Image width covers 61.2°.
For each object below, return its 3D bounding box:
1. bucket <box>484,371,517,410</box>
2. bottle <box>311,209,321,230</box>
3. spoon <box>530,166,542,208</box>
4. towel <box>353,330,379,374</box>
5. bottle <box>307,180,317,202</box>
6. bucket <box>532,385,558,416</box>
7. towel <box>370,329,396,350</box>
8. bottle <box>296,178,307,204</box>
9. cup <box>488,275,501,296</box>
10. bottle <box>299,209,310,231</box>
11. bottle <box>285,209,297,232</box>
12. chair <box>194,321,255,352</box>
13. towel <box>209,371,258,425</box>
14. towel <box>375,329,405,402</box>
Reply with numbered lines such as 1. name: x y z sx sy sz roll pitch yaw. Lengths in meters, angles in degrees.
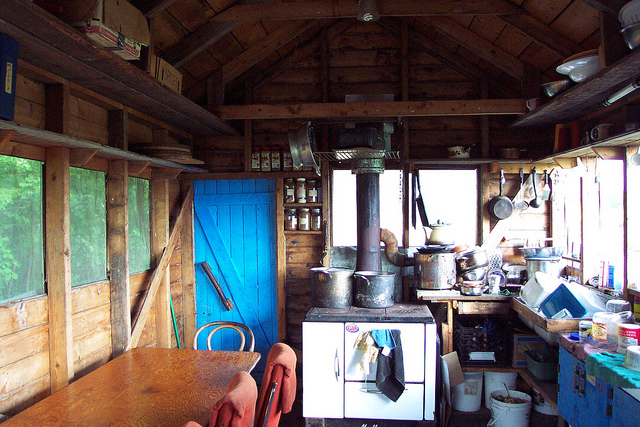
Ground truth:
1. bucket: 1.810 1.782 5.577 0.363 0.391 0.342 0 -3 0
2. bottle: -0.048 0.063 5.958 0.107 0.199 0.045 2 0 2
3. spoon: 2.296 -0.277 5.766 0.117 0.322 0.073 2 0 -21
4. towel: 0.415 1.323 5.063 0.245 0.332 0.105 -2 -40 9
5. bottle: -0.088 -0.243 5.951 0.109 0.215 0.088 2 0 -5
6. bucket: 2.144 1.821 5.268 0.269 0.200 0.260 -2 1 0
7. towel: 0.595 1.161 5.023 0.178 0.173 0.054 -3 -10 -4
8. bottle: -0.202 -0.249 5.968 0.111 0.259 0.060 2 0 -15
9. cup: 1.749 0.714 5.441 0.098 0.157 0.093 2 0 0
10. bottle: -0.169 0.069 5.975 0.123 0.214 0.081 2 0 -23
11. bottle: -0.322 0.070 5.986 0.135 0.216 0.062 2 0 -12
12. chair: -0.985 1.269 5.584 0.472 0.540 0.398 3 -20 2
13. towel: -0.536 1.185 3.447 0.248 0.299 0.319 2 0 7
14. towel: 0.633 1.406 5.018 0.274 0.717 0.129 -5 8 10
